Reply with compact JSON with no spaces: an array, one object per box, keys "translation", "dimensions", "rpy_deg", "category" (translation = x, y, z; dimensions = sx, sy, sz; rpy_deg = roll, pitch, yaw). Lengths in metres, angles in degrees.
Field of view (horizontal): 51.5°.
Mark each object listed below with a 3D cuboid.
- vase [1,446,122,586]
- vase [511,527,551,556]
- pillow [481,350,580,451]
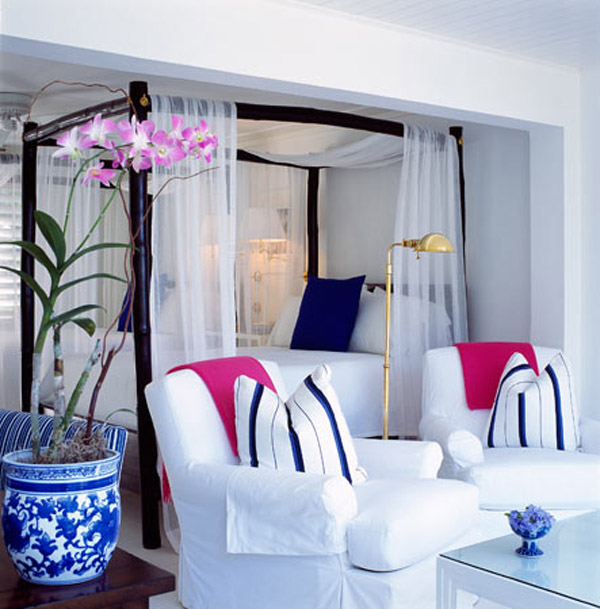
[{"translation":[-0.479,0.421,1.335],"dimensions":[0.201,0.262,0.217],"rpy_deg":[-1,-3,13],"category":"vase"},{"translation":[0.660,0.682,1.792],"dimensions":[0.065,0.097,0.076],"rpy_deg":[1,-7,-4],"category":"vase"},{"translation":[1.189,0.525,3.338],"dimensions":[0.561,0.710,0.355],"rpy_deg":[-1,-5,27],"category":"pillow"}]
